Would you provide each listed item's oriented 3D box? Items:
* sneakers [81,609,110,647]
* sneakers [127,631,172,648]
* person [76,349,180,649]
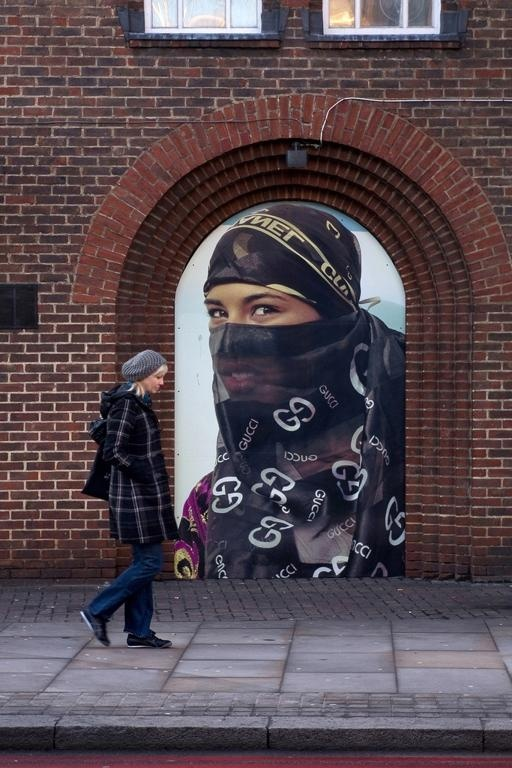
[{"bbox_3d":[-1.005,1.530,6.569,0.149,0.250,0.221,-3,2,-2],"label":"sneakers"},{"bbox_3d":[-0.674,1.602,6.549,0.329,0.101,0.097,1,-7,3],"label":"sneakers"},{"bbox_3d":[-0.828,0.729,6.593,0.617,1.881,0.485,-3,2,-6],"label":"person"}]
